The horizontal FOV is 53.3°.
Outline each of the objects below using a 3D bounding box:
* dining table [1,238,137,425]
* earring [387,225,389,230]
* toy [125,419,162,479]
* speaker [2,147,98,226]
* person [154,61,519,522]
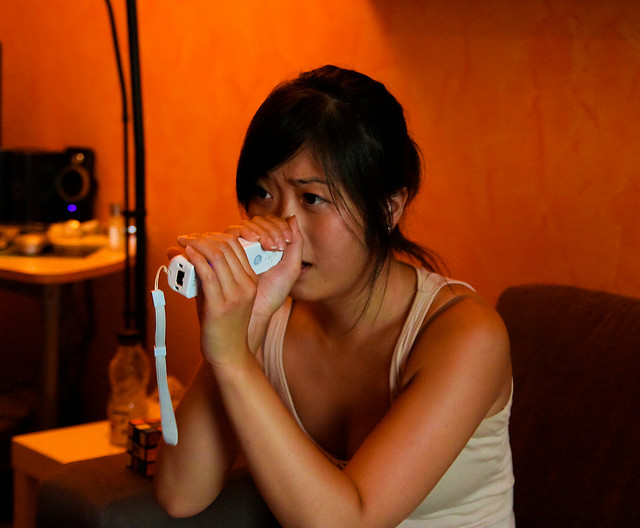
[{"bbox_3d":[-0.772,0.104,2.022,0.424,0.711,0.472,-4,15,-17],"label":"dining table"},{"bbox_3d":[0.136,-0.072,1.277,0.002,0.009,0.010,4,9,13],"label":"earring"},{"bbox_3d":[-0.376,0.388,1.388,0.089,0.102,0.094,8,5,29],"label":"toy"},{"bbox_3d":[-0.948,-0.256,2.189,0.213,0.285,0.717,2,10,-6],"label":"speaker"},{"bbox_3d":[0.058,0.033,1.227,0.608,0.813,0.505,6,9,18],"label":"person"}]
